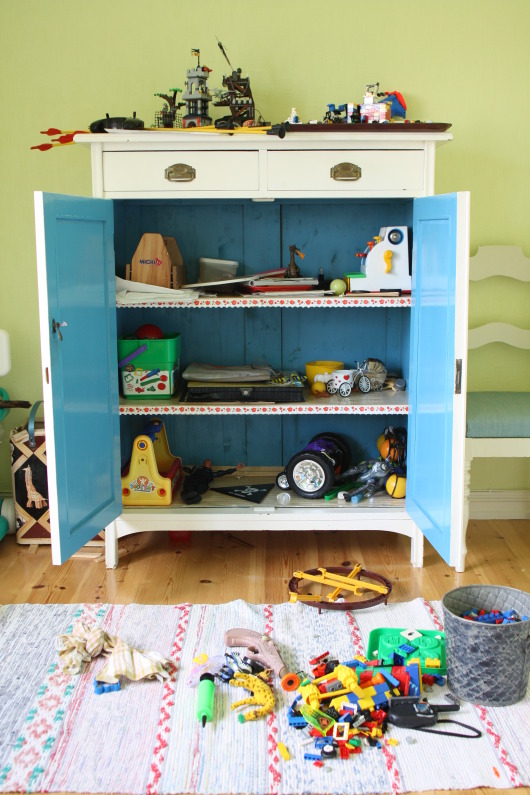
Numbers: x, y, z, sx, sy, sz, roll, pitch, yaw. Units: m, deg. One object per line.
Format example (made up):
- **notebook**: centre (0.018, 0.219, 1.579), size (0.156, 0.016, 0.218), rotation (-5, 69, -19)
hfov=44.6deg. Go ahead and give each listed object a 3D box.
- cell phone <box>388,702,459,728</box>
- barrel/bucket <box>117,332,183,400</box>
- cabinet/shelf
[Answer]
- **cell phone**: centre (0.370, 0.730, 1.509), size (0.126, 0.035, 0.061), rotation (-1, 11, -1)
- **barrel/bucket**: centre (-0.451, -0.111, 2.491), size (0.175, 0.178, 0.261), rotation (0, 12, -2)
- **cabinet/shelf**: centre (-0.019, -0.144, 2.440), size (1.370, 1.660, 0.968), rotation (1, 10, 3)
